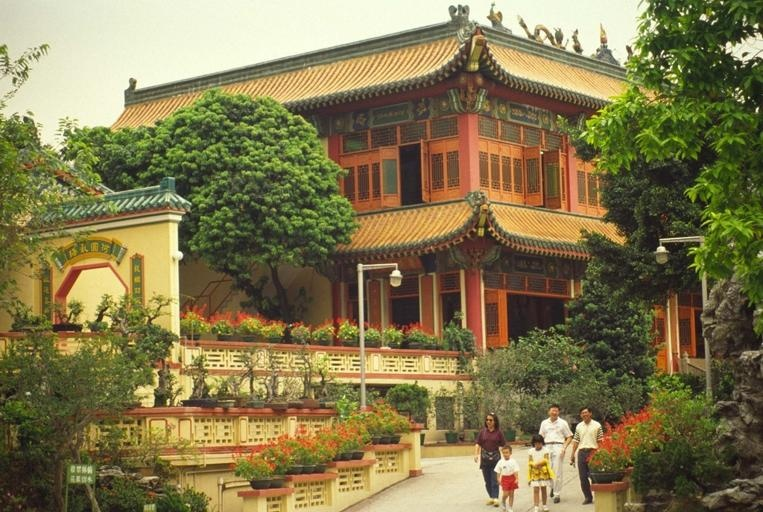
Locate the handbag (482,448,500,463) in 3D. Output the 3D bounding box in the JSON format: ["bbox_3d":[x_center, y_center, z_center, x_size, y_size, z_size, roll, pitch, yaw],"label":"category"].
[{"bbox_3d":[2.669,4.864,32.679,0.437,0.338,0.256,0,-20,3],"label":"handbag"}]

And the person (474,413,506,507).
[{"bbox_3d":[2.677,5.022,32.959,0.611,2.129,0.882,0,-3,2],"label":"person"}]

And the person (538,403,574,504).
[{"bbox_3d":[4.243,4.800,32.817,0.810,2.309,0.750,-1,0,26],"label":"person"}]

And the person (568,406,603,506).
[{"bbox_3d":[4.993,4.846,32.633,0.803,2.275,0.749,-1,0,1],"label":"person"}]

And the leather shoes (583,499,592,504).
[{"bbox_3d":[4.973,5.944,32.317,0.222,0.135,0.139,-4,-14,5],"label":"leather shoes"}]
